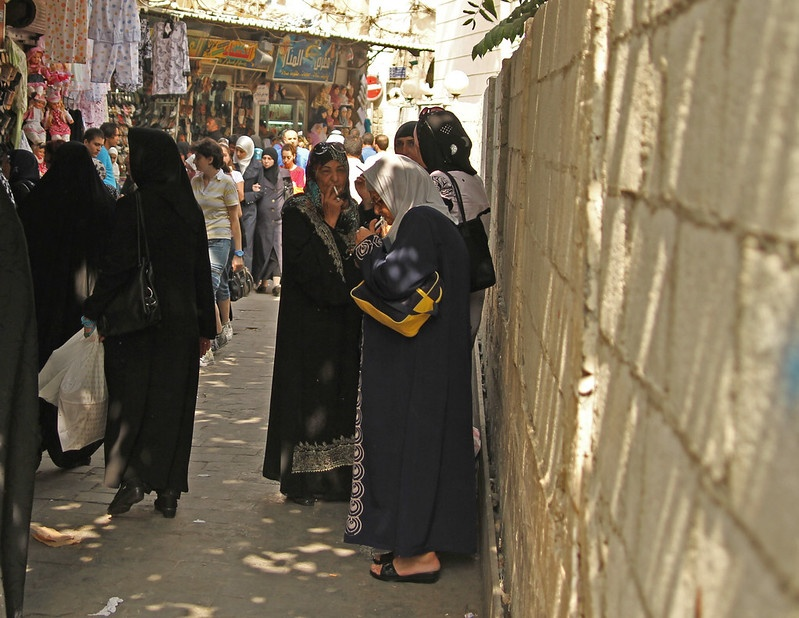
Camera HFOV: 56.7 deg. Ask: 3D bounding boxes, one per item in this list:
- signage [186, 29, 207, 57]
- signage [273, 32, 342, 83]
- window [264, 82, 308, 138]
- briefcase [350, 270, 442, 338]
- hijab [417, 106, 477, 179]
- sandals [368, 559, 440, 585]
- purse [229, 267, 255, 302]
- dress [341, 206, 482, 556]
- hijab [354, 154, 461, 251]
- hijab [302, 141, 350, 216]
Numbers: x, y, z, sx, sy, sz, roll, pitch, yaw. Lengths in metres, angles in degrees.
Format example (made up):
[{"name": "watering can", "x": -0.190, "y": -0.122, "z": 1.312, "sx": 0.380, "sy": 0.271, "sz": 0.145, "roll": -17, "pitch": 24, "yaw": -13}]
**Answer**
[{"name": "signage", "x": -4.568, "y": -6.071, "z": 16.924, "sx": 0.498, "sy": 0.531, "sz": 0.447, "roll": 4, "pitch": 12, "yaw": -12}, {"name": "signage", "x": -2.286, "y": -6.424, "z": 19.054, "sx": 1.651, "sy": 1.252, "sz": 0.218, "roll": 8, "pitch": -1, "yaw": 9}, {"name": "window", "x": -2.856, "y": -5.548, "z": 20.437, "sx": 0.951, "sy": 1.122, "sz": 1.319, "roll": -6, "pitch": 12, "yaw": -1}, {"name": "briefcase", "x": -0.020, "y": -0.084, "z": 3.500, "sx": 0.399, "sy": 0.155, "sz": 0.355, "roll": 16, "pitch": 40, "yaw": 19}, {"name": "hijab", "x": 0.341, "y": -1.131, "z": 5.015, "sx": 0.439, "sy": 0.491, "sz": 0.409, "roll": 0, "pitch": 2, "yaw": -23}, {"name": "sandals", "x": 0.032, "y": 1.269, "z": 3.586, "sx": 0.300, "sy": 0.104, "sz": 0.123, "roll": 2, "pitch": -2, "yaw": 0}, {"name": "purse", "x": -1.710, "y": -0.277, "z": 8.152, "sx": 0.149, "sy": 0.419, "sz": 0.431, "roll": -2, "pitch": 8, "yaw": 18}, {"name": "dress", "x": 0.077, "y": 0.350, "z": 3.617, "sx": 0.598, "sy": 1.628, "sz": 0.692, "roll": 2, "pitch": -8, "yaw": -1}, {"name": "hijab", "x": 0.060, "y": -0.549, "z": 3.689, "sx": 0.359, "sy": 0.409, "sz": 0.342, "roll": -8, "pitch": -3, "yaw": -26}, {"name": "hijab", "x": -0.431, "y": -0.790, "z": 4.425, "sx": 0.297, "sy": 0.384, "sz": 0.328, "roll": -4, "pitch": 2, "yaw": 6}]
